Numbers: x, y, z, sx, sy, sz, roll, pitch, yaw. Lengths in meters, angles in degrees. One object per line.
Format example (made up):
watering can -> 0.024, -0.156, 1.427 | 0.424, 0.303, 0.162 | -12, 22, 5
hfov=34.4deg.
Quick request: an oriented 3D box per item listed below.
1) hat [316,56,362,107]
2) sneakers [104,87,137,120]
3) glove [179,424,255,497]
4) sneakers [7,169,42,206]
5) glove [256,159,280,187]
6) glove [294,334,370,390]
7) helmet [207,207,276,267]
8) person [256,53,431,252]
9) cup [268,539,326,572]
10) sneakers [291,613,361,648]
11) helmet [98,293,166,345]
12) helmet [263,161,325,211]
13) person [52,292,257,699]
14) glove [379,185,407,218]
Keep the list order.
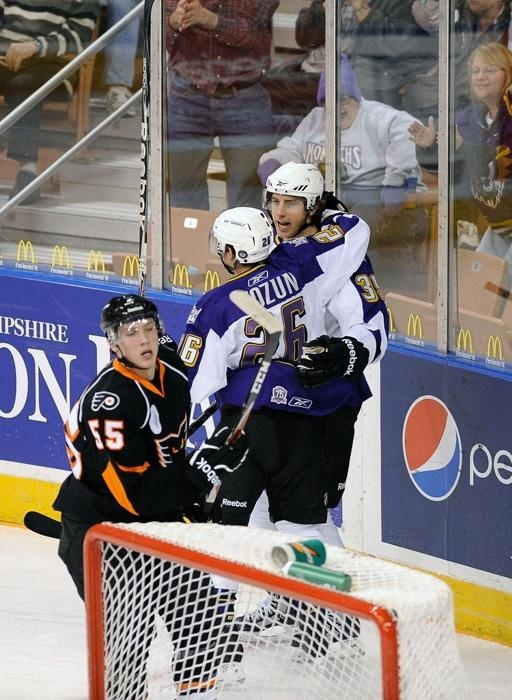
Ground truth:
hat -> 0.332, -1.098, 3.340 | 0.146, 0.166, 0.195 | -1, 8, -5
sneakers -> -0.613, -1.154, 3.930 | 0.167, 0.162, 0.101 | 10, 5, 30
glove -> -0.108, 0.296, 2.246 | 0.117, 0.195, 0.057 | 45, -5, 20
sneakers -> -1.156, -0.824, 4.169 | 0.097, 0.180, 0.133 | -3, 34, -47
glove -> 0.049, -0.781, 3.564 | 0.058, 0.152, 0.118 | -2, 6, -41
glove -> 0.219, 0.035, 2.389 | 0.181, 0.129, 0.081 | -8, 29, -26
helmet -> -0.060, -0.319, 2.488 | 0.199, 0.184, 0.151 | 1, 10, 27
person -> 0.346, -0.781, 3.410 | 0.656, 0.815, 0.449 | -2, 8, 22
cup -> 0.077, 0.376, 1.503 | 0.104, 0.057, 0.101 | -1, 6, 0
sneakers -> 0.130, 0.492, 1.467 | 0.044, 0.079, 0.136 | -9, -12, 27
helmet -> -0.320, -0.093, 2.113 | 0.117, 0.116, 0.137 | -12, -13, -22
helmet -> 0.109, -0.508, 2.676 | 0.166, 0.189, 0.203 | 13, 29, 17
person -> -0.238, 0.343, 2.026 | 0.488, 0.951, 0.648 | -2, 6, -15
glove -> 0.542, -0.595, 3.280 | 0.032, 0.111, 0.117 | -5, 14, -41
